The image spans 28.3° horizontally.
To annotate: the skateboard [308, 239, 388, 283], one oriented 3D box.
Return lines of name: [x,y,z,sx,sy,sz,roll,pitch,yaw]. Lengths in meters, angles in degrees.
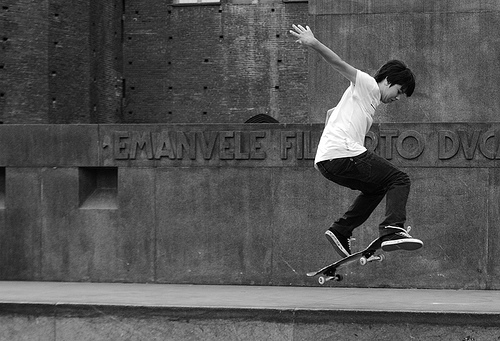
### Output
skateboard: [1.824,1.633,18.222,1.607,0.261,0.381,-26,-34,20]
